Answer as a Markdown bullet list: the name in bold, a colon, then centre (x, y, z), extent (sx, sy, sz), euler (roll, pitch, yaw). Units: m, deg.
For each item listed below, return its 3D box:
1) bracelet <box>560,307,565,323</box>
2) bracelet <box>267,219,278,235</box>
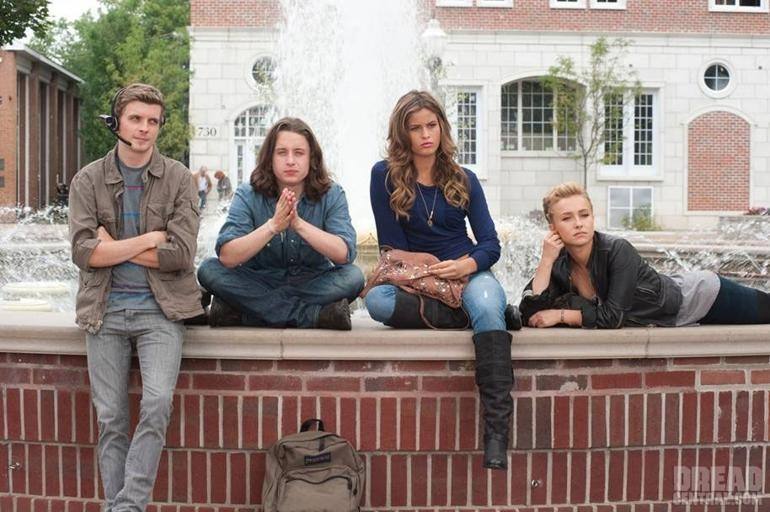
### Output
- **bracelet**: centre (4.704, 1.605, 38.183), extent (0.121, 0.358, 0.032), euler (0, 2, -5)
- **bracelet**: centre (-3.001, -0.731, 38.180), extent (0.282, 0.349, 0.109), euler (-15, -4, 8)
